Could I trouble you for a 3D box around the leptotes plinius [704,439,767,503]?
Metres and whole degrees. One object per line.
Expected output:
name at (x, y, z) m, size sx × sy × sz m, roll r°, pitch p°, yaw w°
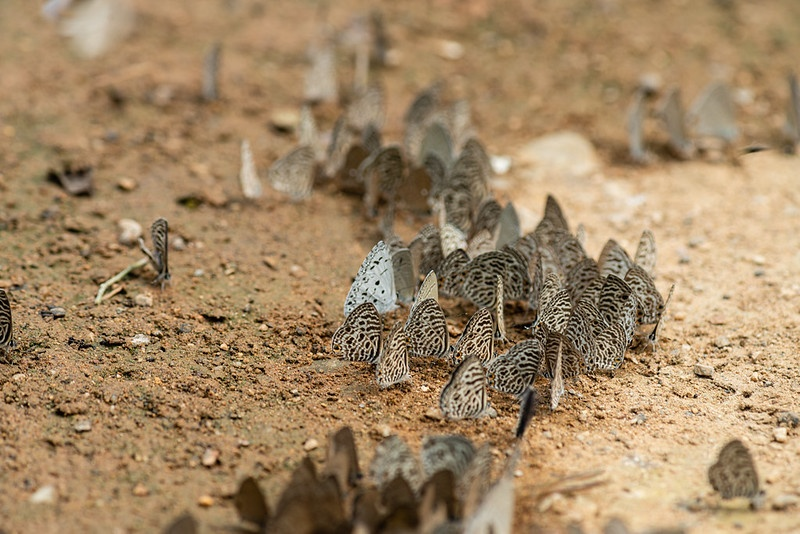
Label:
leptotes plinius at (2.323, 1.442, 7.615) m, size 0.327 × 0.096 × 0.423 m, roll -21°, pitch 85°, yaw 32°
